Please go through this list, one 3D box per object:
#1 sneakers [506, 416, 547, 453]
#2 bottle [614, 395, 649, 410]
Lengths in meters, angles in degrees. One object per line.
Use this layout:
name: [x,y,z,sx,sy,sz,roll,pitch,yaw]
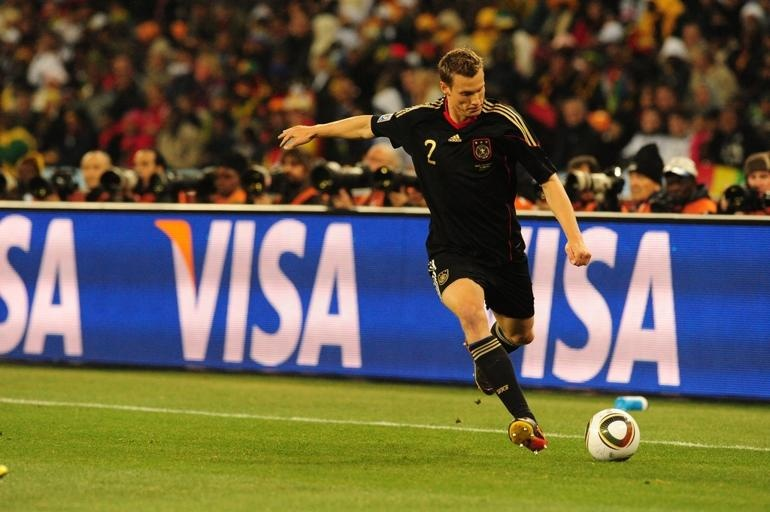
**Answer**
sneakers: [1.181,1.486,9.280,0.353,0.203,0.231,36,13,-1]
bottle: [2.352,1.457,10.579,0.330,0.187,0.181,0,-14,-9]
